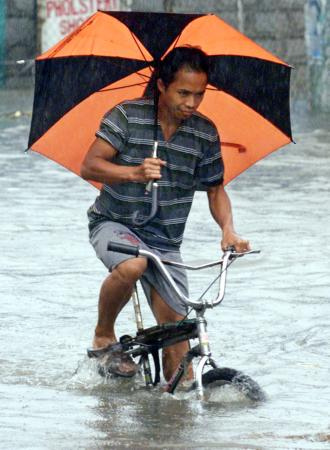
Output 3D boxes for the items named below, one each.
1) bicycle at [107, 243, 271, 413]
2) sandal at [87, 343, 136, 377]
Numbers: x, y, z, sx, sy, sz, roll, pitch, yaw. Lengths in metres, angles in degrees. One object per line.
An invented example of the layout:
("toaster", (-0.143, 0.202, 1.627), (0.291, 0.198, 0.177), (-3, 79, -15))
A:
("bicycle", (0.180, 0.446, 3.966), (0.538, 0.698, 0.767), (3, -6, -32))
("sandal", (-0.249, 0.601, 4.073), (0.095, 0.093, 0.255), (-2, 8, -39))
